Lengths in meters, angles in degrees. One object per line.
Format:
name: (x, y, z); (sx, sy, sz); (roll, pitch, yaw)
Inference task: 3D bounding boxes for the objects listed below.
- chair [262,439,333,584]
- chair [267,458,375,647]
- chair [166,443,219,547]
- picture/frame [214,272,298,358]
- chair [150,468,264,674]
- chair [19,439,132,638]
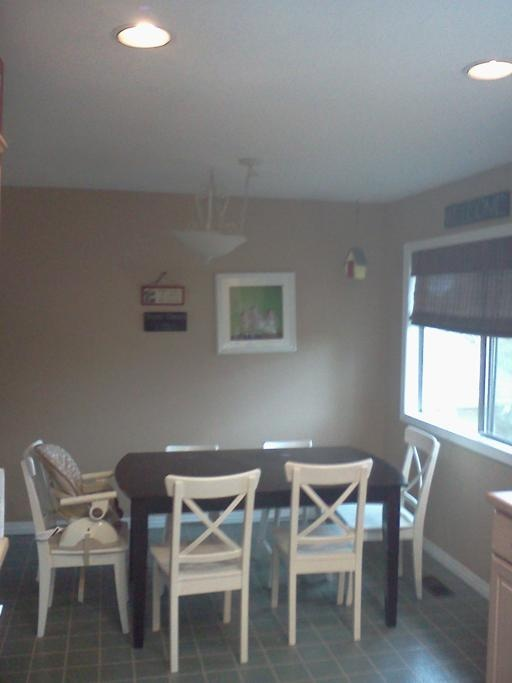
chair: (0.324, 0.934, 3.766); (0.458, 0.995, 0.560); (0, 4, -6)
chair: (0.301, 0.885, 2.803); (0.383, 0.962, 0.518); (-1, 16, 1)
chair: (-0.390, 0.855, 3.404); (0.370, 0.660, 0.404); (0, 17, -13)
picture/frame: (-0.031, -0.195, 4.061); (0.468, 0.588, 0.035); (-1, 5, -6)
chair: (-0.223, 0.920, 2.643); (0.482, 0.824, 0.651); (0, 3, -11)
chair: (-0.834, 0.908, 2.837); (0.455, 0.844, 0.513); (-2, 3, -29)
